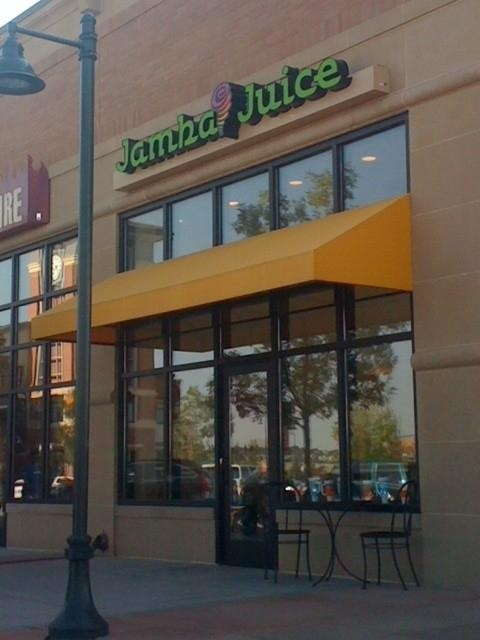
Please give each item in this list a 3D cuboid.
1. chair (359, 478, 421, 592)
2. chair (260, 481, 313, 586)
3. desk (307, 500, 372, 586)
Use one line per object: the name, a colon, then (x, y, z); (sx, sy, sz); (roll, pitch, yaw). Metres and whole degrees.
chair: (1.447, 2.056, 8.045); (0.564, 0.979, 0.992); (-3, -11, 8)
chair: (0.616, 2.293, 9.215); (0.419, 1.088, 0.532); (3, -2, 3)
desk: (0.988, 2.346, 8.732); (0.602, 0.946, 0.625); (-9, -11, 43)
